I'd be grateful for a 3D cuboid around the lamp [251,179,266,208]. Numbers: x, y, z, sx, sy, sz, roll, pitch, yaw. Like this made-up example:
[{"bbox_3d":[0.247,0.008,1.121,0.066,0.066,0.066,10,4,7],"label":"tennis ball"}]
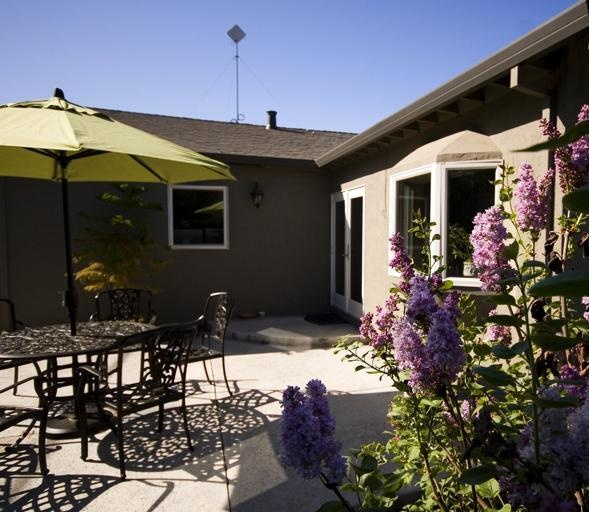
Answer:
[{"bbox_3d":[-0.566,-0.984,8.234,0.247,0.414,0.164,-3,6,-23],"label":"lamp"}]
